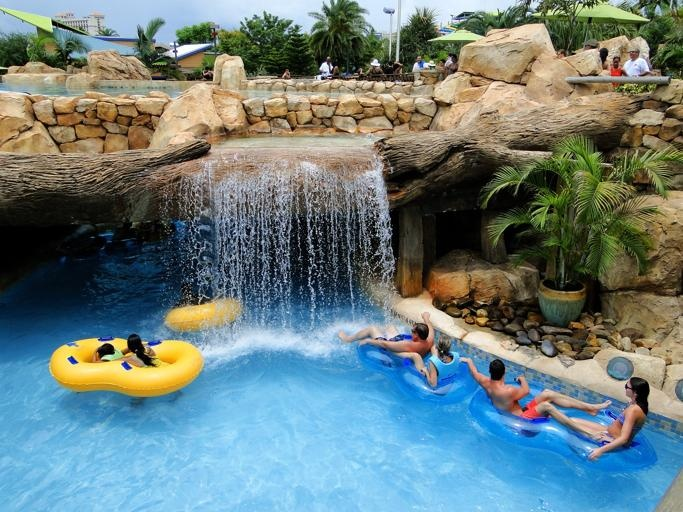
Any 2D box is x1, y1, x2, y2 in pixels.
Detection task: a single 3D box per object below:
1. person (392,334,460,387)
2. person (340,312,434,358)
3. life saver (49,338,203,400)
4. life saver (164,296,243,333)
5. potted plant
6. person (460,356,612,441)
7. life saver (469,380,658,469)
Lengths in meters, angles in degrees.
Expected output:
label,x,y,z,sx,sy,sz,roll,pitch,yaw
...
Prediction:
label,x,y,z,sx,sy,sz,roll,pitch,yaw
person,1.285,1.481,6.729,0.537,0.494,0.985,-12,25,-27
person,0.825,1.334,7.196,1.113,0.411,0.725,13,10,39
life saver,-3.022,1.589,6.355,1.989,0.559,0.852,0,18,4
life saver,-2.549,1.080,7.934,0.888,0.234,0.831,-7,3,30
potted plant,3.826,-0.447,7.482,2.505,2.986,2.022,11,25,33
person,2.651,1.822,6.099,1.841,0.785,0.691,-4,2,-3
life saver,2.662,2.098,5.562,1.531,0.229,0.838,7,7,19
